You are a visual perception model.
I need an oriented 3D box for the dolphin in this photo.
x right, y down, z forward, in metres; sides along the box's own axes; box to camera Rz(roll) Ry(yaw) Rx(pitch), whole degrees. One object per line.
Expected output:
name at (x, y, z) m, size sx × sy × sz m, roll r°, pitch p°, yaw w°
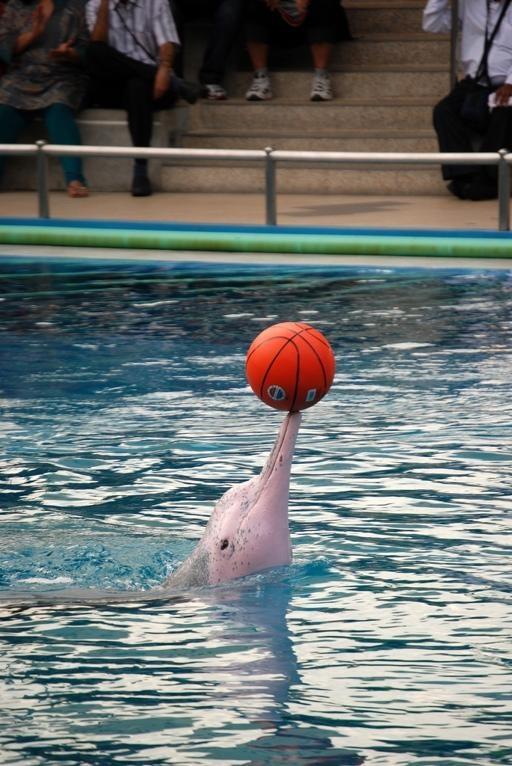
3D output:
dolphin at (-0.030, 0.214, 2.172) m, size 0.195 × 0.375 × 0.352 m, roll -3°, pitch 9°, yaw -16°

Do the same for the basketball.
basketball at (0.056, -0.018, 1.997) m, size 0.137 × 0.148 × 0.132 m, roll -1°, pitch 21°, yaw -17°

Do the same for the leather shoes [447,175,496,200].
leather shoes at (1.183, -1.059, 6.833) m, size 0.102 × 0.119 × 0.271 m, roll -11°, pitch 10°, yaw -39°
